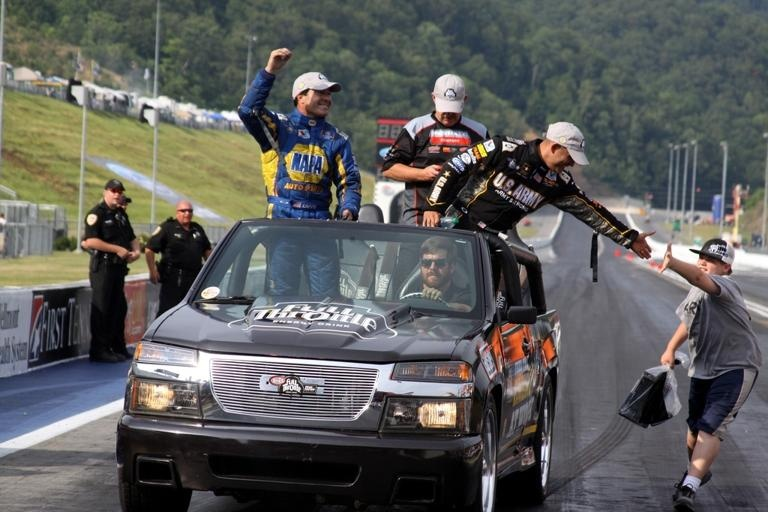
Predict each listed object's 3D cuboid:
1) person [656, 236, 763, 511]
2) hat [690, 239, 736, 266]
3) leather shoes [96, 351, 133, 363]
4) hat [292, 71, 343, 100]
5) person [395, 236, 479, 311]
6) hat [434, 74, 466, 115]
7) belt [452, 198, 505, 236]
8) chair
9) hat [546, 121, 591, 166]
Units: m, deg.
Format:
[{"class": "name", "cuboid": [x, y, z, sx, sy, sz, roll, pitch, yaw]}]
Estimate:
[{"class": "person", "cuboid": [3.504, 1.223, 12.689, 1.063, 2.809, 1.346, 4, 3, 18]}, {"class": "hat", "cuboid": [3.579, -0.052, 12.867, 0.435, 0.255, 0.291, 13, 0, 1]}, {"class": "leather shoes", "cuboid": [-4.060, 1.497, 17.590, 0.516, 0.220, 0.175, -1, 0, -4]}, {"class": "hat", "cuboid": [-0.880, -2.085, 14.098, 0.488, 0.240, 0.347, -10, 0, 28]}, {"class": "person", "cuboid": [0.566, 0.229, 12.068, 0.584, 0.799, 0.306, 9, -4, 2]}, {"class": "hat", "cuboid": [0.819, -2.112, 14.735, 0.336, 0.531, 0.265, 4, -39, 1]}, {"class": "belt", "cuboid": [1.051, -0.472, 13.529, 0.496, 0.189, 0.389, 14, 46, 1]}, {"class": "chair", "cuboid": [0.134, -0.040, 12.698, 1.059, 1.768, 1.606, 4, 12, 19]}, {"class": "hat", "cuboid": [2.128, -1.282, 13.305, 0.574, 0.327, 0.384, 33, 16, -2]}]
